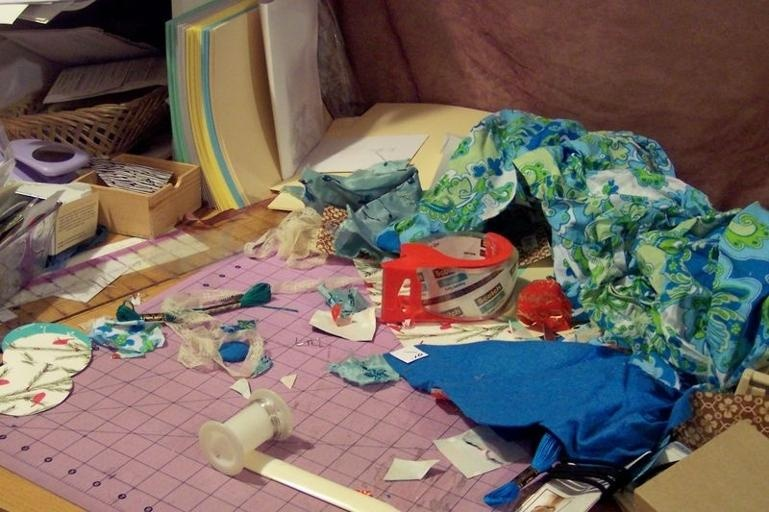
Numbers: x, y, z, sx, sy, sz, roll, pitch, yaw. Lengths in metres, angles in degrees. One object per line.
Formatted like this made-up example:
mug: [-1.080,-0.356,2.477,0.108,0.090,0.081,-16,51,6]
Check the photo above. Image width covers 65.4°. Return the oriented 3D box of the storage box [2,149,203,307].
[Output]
storage box: [-0.658,-0.164,1.655,0.259,0.135,0.245,7,37,1]

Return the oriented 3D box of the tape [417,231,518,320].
tape: [0.187,0.052,1.356,0.226,0.113,0.165,-16,31,-35]
